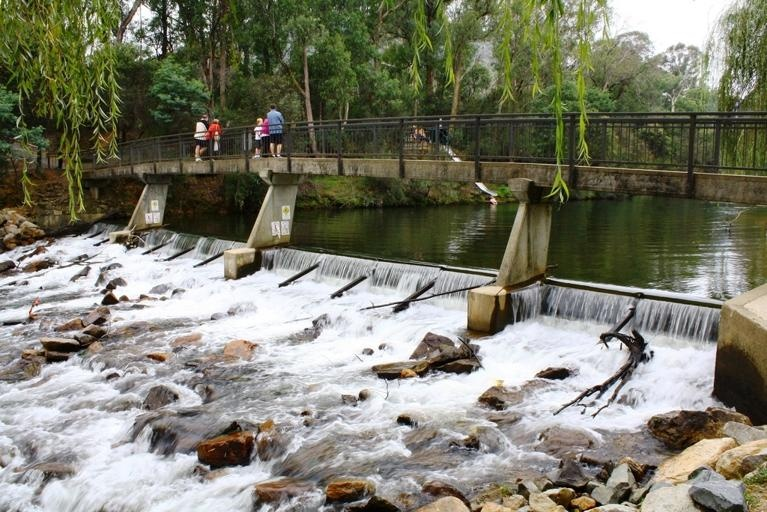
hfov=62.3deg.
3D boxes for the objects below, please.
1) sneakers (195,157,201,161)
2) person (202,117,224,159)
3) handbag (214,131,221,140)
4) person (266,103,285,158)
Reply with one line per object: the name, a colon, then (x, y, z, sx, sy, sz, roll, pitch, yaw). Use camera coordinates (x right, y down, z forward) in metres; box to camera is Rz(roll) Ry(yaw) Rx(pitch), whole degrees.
sneakers: (-7.242, -3.823, 24.884, 0.220, 0.121, 0.437, -3, 8, -21)
person: (-6.493, -4.573, 24.423, 0.538, 1.408, 1.023, -2, 7, -16)
handbag: (-6.342, -4.624, 24.246, 0.123, 0.313, 0.388, -1, 7, -8)
person: (-3.606, -4.184, 21.300, 0.539, 1.726, 1.220, -1, 7, -12)
